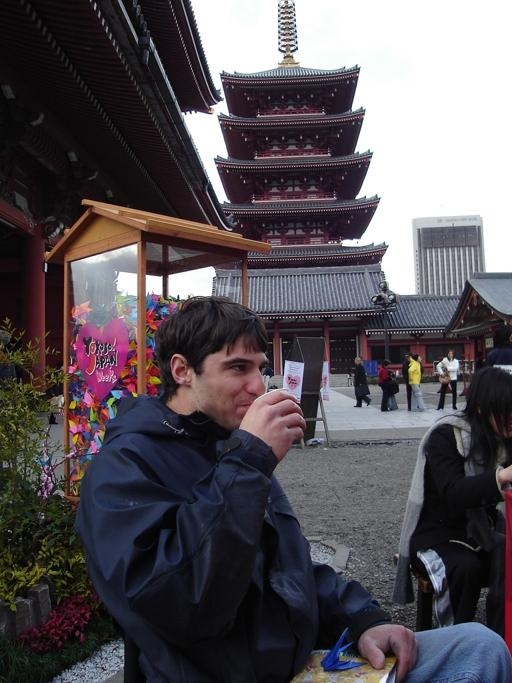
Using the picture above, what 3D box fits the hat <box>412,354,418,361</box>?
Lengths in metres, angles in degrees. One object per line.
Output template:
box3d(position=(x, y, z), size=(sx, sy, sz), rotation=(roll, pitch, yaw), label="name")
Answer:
box3d(position=(3.477, 0.341, 12.022), size=(0.112, 0.152, 0.152), rotation=(-3, -4, 16), label="hat")

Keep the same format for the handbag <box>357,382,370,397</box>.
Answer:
box3d(position=(2.584, 1.160, 13.347), size=(0.301, 0.282, 0.297), rotation=(-2, -11, 4), label="handbag")
